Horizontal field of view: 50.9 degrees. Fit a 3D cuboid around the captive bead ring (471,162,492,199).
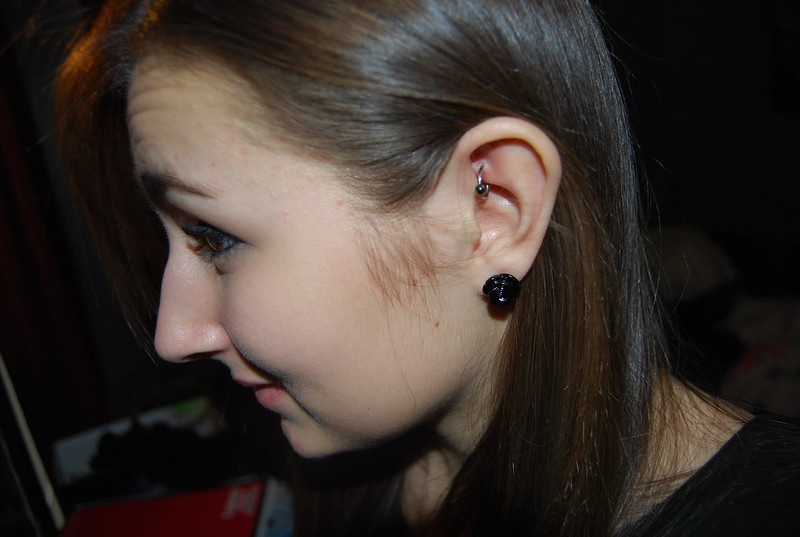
[{"bbox_3d":[0.173,-0.176,1.750,0.033,0.068,0.031,-2,22,1],"label":"captive bead ring"}]
